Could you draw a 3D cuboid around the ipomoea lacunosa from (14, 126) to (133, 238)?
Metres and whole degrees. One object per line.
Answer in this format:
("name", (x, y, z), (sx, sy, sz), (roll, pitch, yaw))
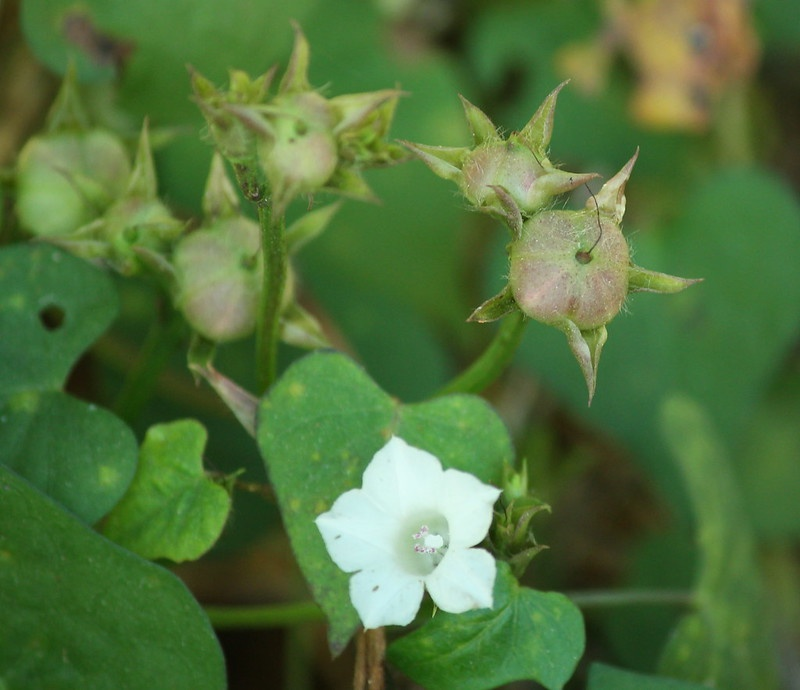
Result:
("ipomoea lacunosa", (-0.297, -0.146, 0.926), (0.104, 0.057, 0.093), (0, 56, -5))

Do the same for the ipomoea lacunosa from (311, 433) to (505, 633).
("ipomoea lacunosa", (0.009, 0.159, 0.839), (0.138, 0.060, 0.176), (-3, 44, -7))
